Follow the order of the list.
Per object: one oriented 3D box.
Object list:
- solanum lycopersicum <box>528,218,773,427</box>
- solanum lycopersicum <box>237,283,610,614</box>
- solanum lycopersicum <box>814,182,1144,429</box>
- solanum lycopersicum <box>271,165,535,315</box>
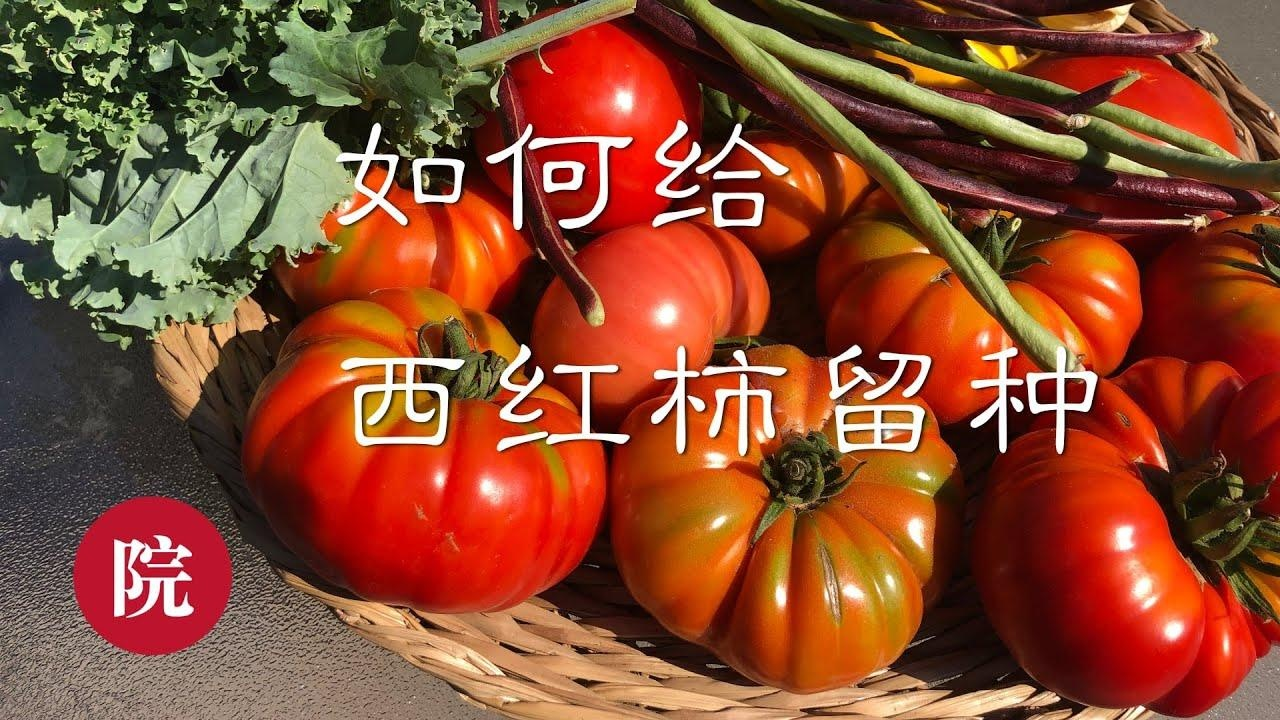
[{"bbox_3d":[0.021,-0.067,1.929,0.406,0.410,0.398,28,3,14],"label":"solanum lycopersicum"},{"bbox_3d":[-0.385,0.224,1.827,0.572,0.422,0.565,-17,68,-38],"label":"solanum lycopersicum"},{"bbox_3d":[0.648,-0.046,1.892,0.479,0.293,0.480,-17,37,-29],"label":"solanum lycopersicum"},{"bbox_3d":[-0.448,-0.231,1.811,0.345,0.234,0.335,23,35,22],"label":"solanum lycopersicum"}]
